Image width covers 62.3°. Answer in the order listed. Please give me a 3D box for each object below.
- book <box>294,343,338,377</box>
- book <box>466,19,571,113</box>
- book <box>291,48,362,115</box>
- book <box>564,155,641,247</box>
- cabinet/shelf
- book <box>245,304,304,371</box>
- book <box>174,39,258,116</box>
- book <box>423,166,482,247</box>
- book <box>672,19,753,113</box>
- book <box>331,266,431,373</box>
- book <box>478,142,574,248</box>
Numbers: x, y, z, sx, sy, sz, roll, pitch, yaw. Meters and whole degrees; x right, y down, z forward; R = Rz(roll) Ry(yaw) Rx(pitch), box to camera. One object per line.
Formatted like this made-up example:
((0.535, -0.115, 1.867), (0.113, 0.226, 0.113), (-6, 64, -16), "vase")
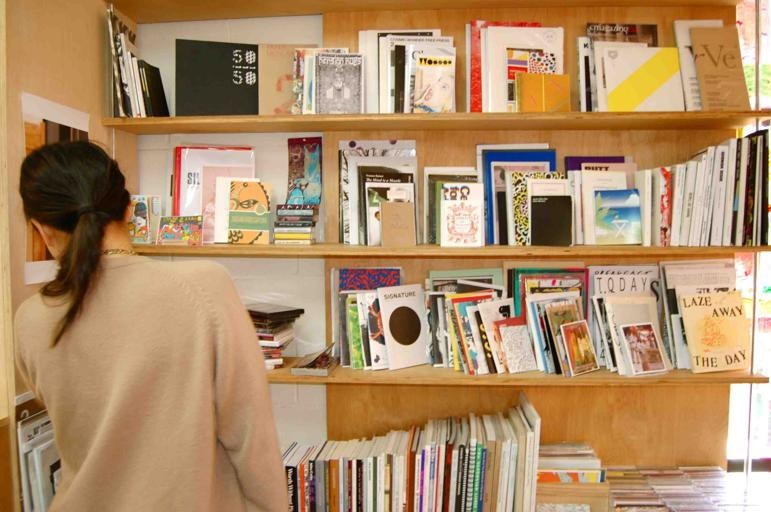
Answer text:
((-0.348, 0.517, 3.191), (0.206, 0.122, 0.254), (-1, 2, 4), "book")
((0.644, -0.922, 3.137), (0.520, 0.477, 0.172), (0, 1, -3), "book")
((-0.281, -0.868, 3.156), (0.353, 0.348, 0.129), (-1, 2, -6), "book")
((1.023, -0.270, 3.237), (0.392, 0.394, 0.095), (3, -6, -3), "book")
((0.360, -0.132, 3.051), (2.395, 2.024, 0.710), (-1, -4, 0), "cabinet/shelf")
((-0.527, 0.396, 3.289), (0.383, 0.366, 0.277), (-1, -7, 1), "book")
((-0.870, -0.902, 3.251), (0.472, 0.421, 0.105), (2, 1, -8), "book")
((0.336, -0.259, 3.214), (0.274, 0.394, 0.155), (0, 2, 8), "book")
((1.587, -0.929, 3.106), (0.303, 0.482, 0.219), (-1, 2, 2), "book")
((-0.021, 0.311, 3.212), (0.475, 0.492, 0.260), (-1, 2, -8), "book")
((0.673, -0.316, 3.237), (0.378, 0.505, 0.133), (-1, 2, -9), "book")
